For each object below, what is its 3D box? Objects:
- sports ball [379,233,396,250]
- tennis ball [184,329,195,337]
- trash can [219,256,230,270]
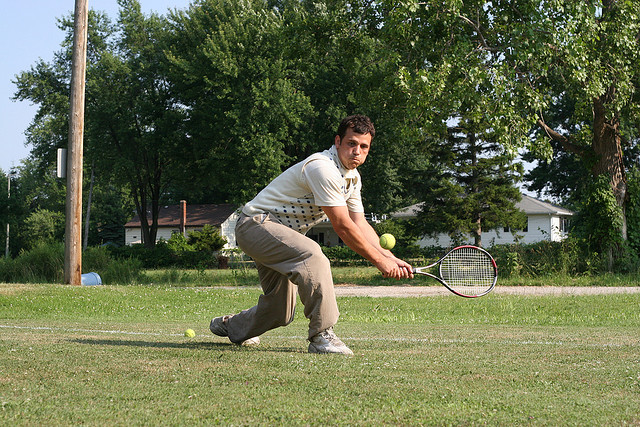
[{"bbox_3d":[2.126,0.895,26.987,0.492,0.484,0.486,0,6,0],"label":"sports ball"},{"bbox_3d":[-3.845,3.555,25.556,0.244,0.209,0.200,10,3,-4],"label":"tennis ball"},{"bbox_3d":[-6.058,3.144,54.784,0.729,0.760,0.685,1,2,23],"label":"trash can"}]
